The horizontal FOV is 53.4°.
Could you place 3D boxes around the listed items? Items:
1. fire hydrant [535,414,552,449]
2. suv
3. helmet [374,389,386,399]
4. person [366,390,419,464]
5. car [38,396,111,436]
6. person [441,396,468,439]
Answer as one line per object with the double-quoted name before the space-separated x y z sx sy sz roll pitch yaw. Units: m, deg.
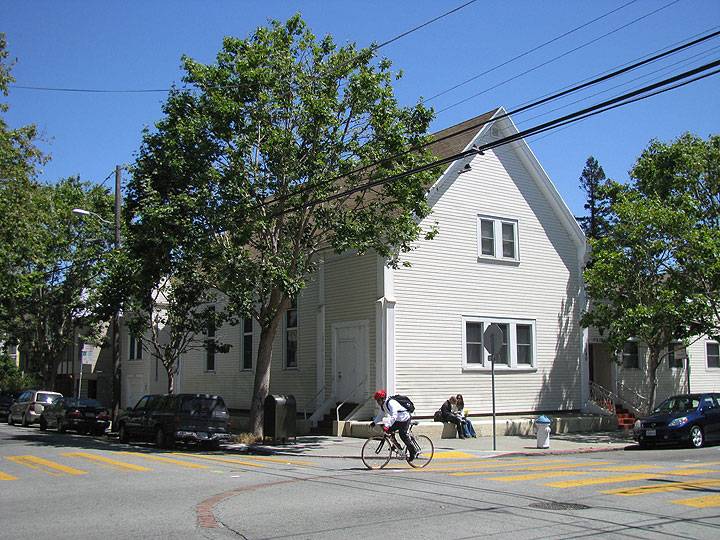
"fire hydrant" 6.143 5.379 24.000 0.411 1.151 1.507 -1 -14 14
"suv" -6.516 5.080 25.094 1.931 1.442 3.679 12 -11 -41
"helmet" 0.548 3.299 19.081 0.377 0.230 0.532 1 -10 -7
"person" 0.952 4.092 18.979 1.165 1.833 1.128 2 -13 3
"car" -13.579 6.924 34.145 2.041 1.654 5.761 14 -18 -40
"person" 3.522 5.620 27.476 1.205 1.786 0.721 -9 -33 15
